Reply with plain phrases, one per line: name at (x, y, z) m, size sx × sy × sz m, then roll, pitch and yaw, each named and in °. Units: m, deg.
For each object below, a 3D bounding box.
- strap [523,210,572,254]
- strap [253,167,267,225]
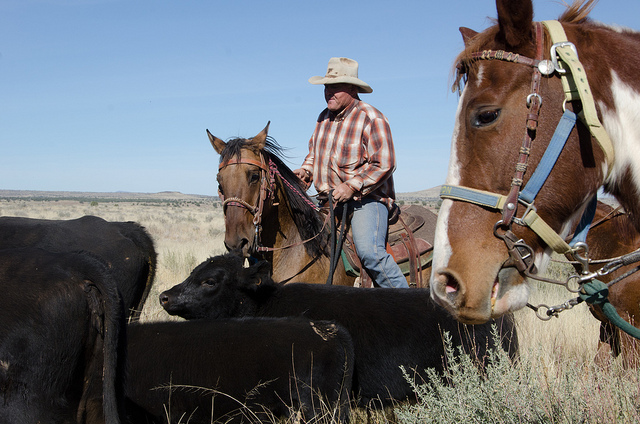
strap at (1.656, 0.147, 4.068) m, size 0.382 × 0.290 × 0.136 m, roll 2°, pitch 0°, yaw -26°
strap at (-0.830, -0.178, 7.713) m, size 0.098 × 0.869 × 0.113 m, roll 2°, pitch -17°, yaw 2°
